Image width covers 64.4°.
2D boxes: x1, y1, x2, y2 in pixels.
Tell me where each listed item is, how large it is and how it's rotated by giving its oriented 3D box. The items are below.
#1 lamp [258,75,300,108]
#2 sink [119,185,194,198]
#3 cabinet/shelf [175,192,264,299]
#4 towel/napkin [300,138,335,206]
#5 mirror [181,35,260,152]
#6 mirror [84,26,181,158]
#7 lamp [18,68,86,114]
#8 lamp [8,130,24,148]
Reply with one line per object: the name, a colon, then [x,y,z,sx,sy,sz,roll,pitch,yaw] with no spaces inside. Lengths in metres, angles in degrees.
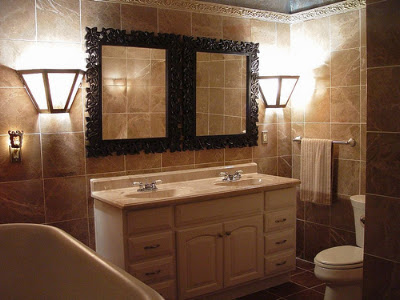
lamp: [0.931,-0.714,3.815,0.449,0.373,0.400,-11,17,-43]
sink: [-0.386,0.419,3.003,0.629,0.091,0.217,-3,8,-9]
cabinet/shelf: [0.149,0.870,2.939,1.000,0.917,0.485,-2,0,-37]
towel/napkin: [1.367,0.264,3.791,0.392,0.759,0.064,4,-5,-5]
mirror: [0.195,-0.657,3.550,1.227,1.616,0.069,-2,4,-32]
mirror: [-0.693,-0.587,3.091,1.237,1.618,0.067,-1,3,-33]
lamp: [-1.258,-0.501,2.713,0.532,0.361,0.244,-6,8,-25]
lamp: [-1.563,-0.093,2.676,0.139,0.178,0.075,-2,4,-42]
